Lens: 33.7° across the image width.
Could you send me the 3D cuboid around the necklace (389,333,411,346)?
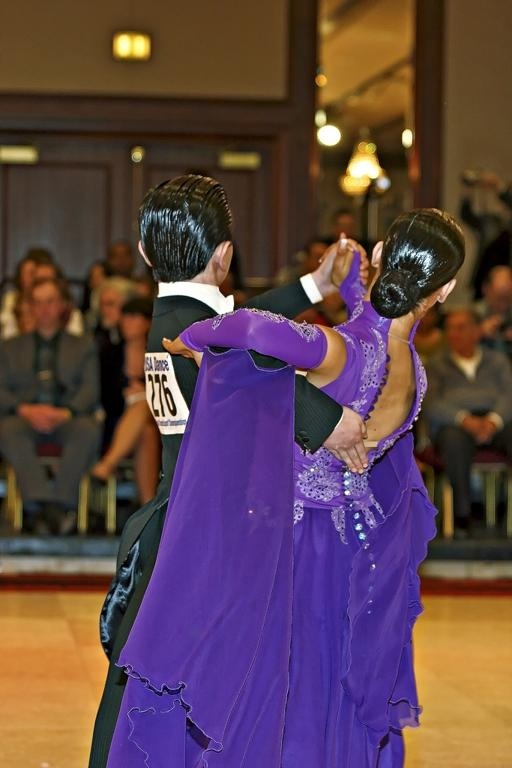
[{"bbox_3d":[0.228,-0.071,1.355,0.050,0.007,0.007,20,36,31],"label":"necklace"}]
